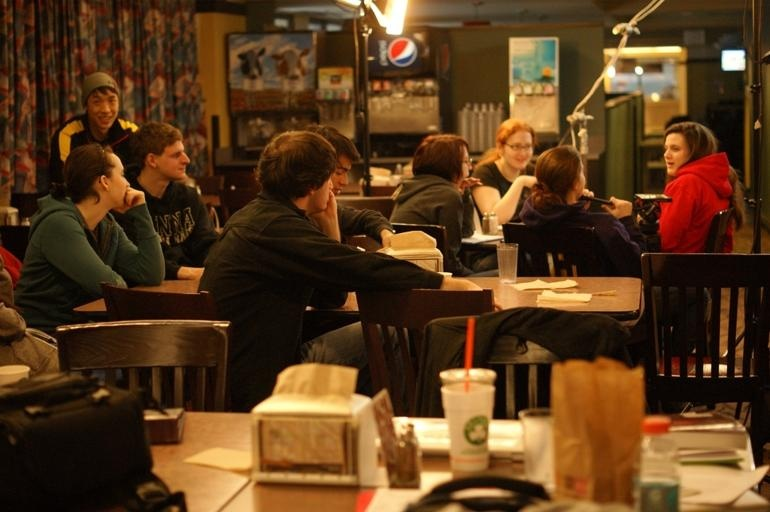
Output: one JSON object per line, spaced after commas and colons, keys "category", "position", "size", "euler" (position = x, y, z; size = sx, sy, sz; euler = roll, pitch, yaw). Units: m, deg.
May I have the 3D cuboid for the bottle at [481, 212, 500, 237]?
{"category": "bottle", "position": [0.646, -0.185, 4.730], "size": [0.085, 0.156, 0.149], "euler": [0, -2, 9]}

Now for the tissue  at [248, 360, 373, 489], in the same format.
{"category": "tissue ", "position": [-0.113, 0.324, 1.612], "size": [0.280, 0.272, 0.241], "euler": [2, 6, 8]}

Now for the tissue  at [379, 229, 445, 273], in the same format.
{"category": "tissue ", "position": [0.096, -0.016, 3.055], "size": [0.156, 0.094, 0.218], "euler": [5, 3, 39]}

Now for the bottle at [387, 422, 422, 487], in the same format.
{"category": "bottle", "position": [0.039, 0.411, 1.597], "size": [0.069, 0.106, 0.087], "euler": [-1, 4, 2]}
